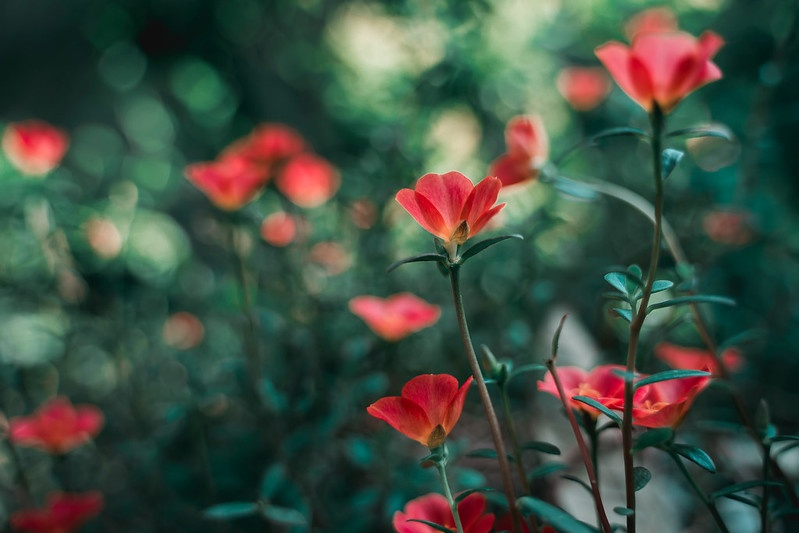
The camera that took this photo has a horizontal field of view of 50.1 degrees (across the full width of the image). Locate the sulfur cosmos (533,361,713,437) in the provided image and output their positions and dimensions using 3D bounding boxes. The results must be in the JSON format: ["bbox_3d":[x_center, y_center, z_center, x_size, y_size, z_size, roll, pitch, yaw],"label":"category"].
[{"bbox_3d":[0.465,0.309,1.934,0.279,0.120,0.327,-4,3,-39],"label":"sulfur cosmos"}]

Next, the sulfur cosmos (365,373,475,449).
[{"bbox_3d":[0.044,0.314,1.895,0.183,0.102,0.178,-22,-2,-43],"label":"sulfur cosmos"}]

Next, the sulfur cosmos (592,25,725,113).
[{"bbox_3d":[0.569,-0.434,1.849,0.199,0.112,0.204,2,-22,-2],"label":"sulfur cosmos"}]
